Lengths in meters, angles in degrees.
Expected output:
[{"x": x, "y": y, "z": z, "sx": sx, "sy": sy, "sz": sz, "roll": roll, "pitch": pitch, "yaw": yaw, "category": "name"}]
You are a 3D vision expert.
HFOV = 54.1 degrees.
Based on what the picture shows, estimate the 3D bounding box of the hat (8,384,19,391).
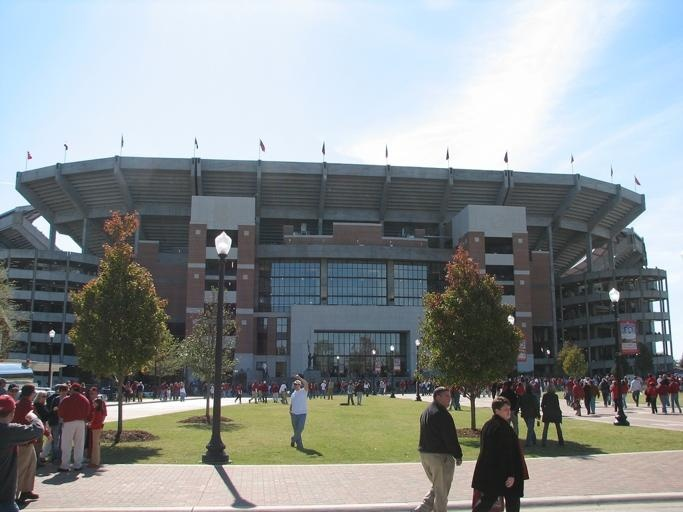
[{"x": -8.126, "y": 3.250, "z": 16.466, "sx": 0.218, "sy": 0.184, "sz": 0.323, "roll": -2, "pitch": 0, "yaw": -18, "category": "hat"}]

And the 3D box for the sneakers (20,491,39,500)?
[{"x": -6.985, "y": 5.342, "z": 14.852, "sx": 0.342, "sy": 0.170, "sz": 0.130, "roll": 1, "pitch": -2, "yaw": -23, "category": "sneakers"}]
